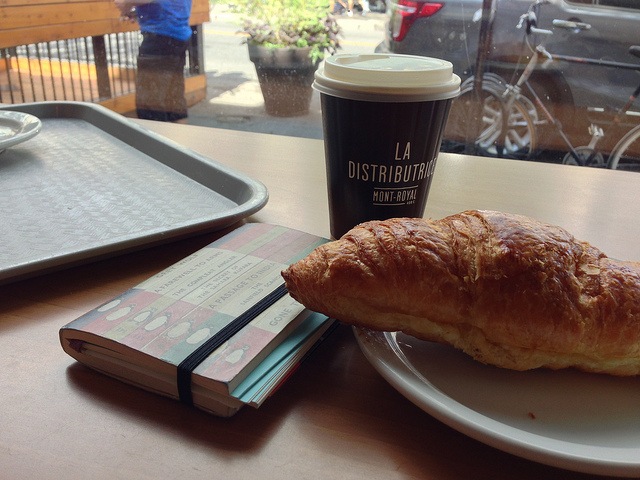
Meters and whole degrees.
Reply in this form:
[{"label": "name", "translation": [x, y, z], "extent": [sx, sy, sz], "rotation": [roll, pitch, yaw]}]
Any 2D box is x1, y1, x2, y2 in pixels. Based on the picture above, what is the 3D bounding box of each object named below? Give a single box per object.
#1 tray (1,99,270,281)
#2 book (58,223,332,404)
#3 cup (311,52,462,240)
[{"label": "tray", "translation": [-0.323, -0.107, 0.758], "extent": [0.299, 0.060, 0.561], "rotation": [-14, 29, -33]}, {"label": "book", "translation": [-0.081, 0.049, 0.502], "extent": [0.165, 0.036, 0.204], "rotation": [15, 39, 21]}, {"label": "cup", "translation": [0.062, -0.107, 0.624], "extent": [0.185, 0.165, 0.158], "rotation": [-2, 18, -12]}]
